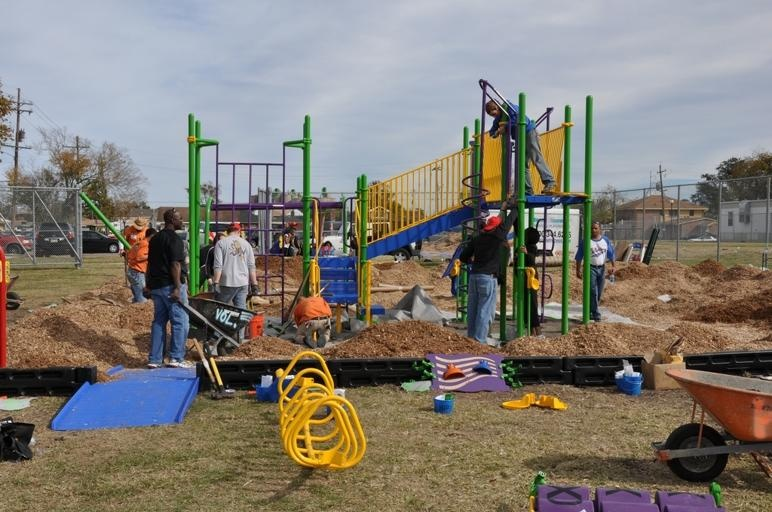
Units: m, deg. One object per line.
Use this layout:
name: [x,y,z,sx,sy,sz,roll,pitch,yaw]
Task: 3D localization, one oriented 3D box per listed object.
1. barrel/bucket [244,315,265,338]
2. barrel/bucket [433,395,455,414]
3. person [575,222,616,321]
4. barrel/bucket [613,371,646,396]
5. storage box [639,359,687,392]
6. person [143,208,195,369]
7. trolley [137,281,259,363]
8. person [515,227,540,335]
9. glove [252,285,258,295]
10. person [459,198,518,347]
barrel/bucket: [-2.352,1.245,16.483,0.480,0.542,0.461,1,-1,0]
barrel/bucket: [0.798,2.072,12.961,0.194,0.184,0.261,1,-7,0]
person: [4.121,0.196,18.096,0.788,2.152,0.848,0,0,18]
barrel/bucket: [3.528,1.844,13.456,0.348,0.310,0.313,-2,-1,5]
storage box: [3.988,1.761,13.499,0.660,0.405,0.658,0,-3,1]
person: [-3.462,0.530,14.711,0.797,2.336,0.782,0,-1,-14]
trolley: [-2.961,1.131,15.083,0.717,0.890,1.648,2,-12,41]
person: [2.494,0.410,16.032,0.534,1.715,0.444,0,-1,-41]
glove: [-2.373,0.603,16.657,0.128,0.180,0.089,-1,1,0]
person: [1.669,0.257,15.306,1.000,2.289,0.538,-3,3,-26]
